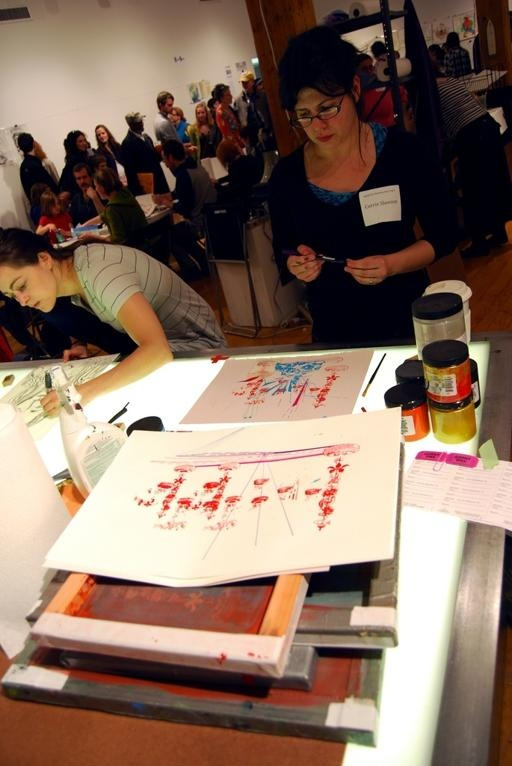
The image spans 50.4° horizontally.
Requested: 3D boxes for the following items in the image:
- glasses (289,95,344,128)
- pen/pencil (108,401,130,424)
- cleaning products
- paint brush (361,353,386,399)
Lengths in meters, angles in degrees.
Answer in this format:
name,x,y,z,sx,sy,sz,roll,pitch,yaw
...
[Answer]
name,x,y,z,sx,sy,sz,roll,pitch,yaw
glasses,0.160,-0.729,1.480,0.163,0.049,0.064,-4,29,28
pen/pencil,-0.292,0.068,1.172,0.021,0.007,0.081,1,32,17
cleaning products,-0.252,0.083,0.788,0.076,0.156,0.099,-1,27,21
paint brush,0.224,-0.010,1.032,0.012,0.011,0.145,-4,30,30
